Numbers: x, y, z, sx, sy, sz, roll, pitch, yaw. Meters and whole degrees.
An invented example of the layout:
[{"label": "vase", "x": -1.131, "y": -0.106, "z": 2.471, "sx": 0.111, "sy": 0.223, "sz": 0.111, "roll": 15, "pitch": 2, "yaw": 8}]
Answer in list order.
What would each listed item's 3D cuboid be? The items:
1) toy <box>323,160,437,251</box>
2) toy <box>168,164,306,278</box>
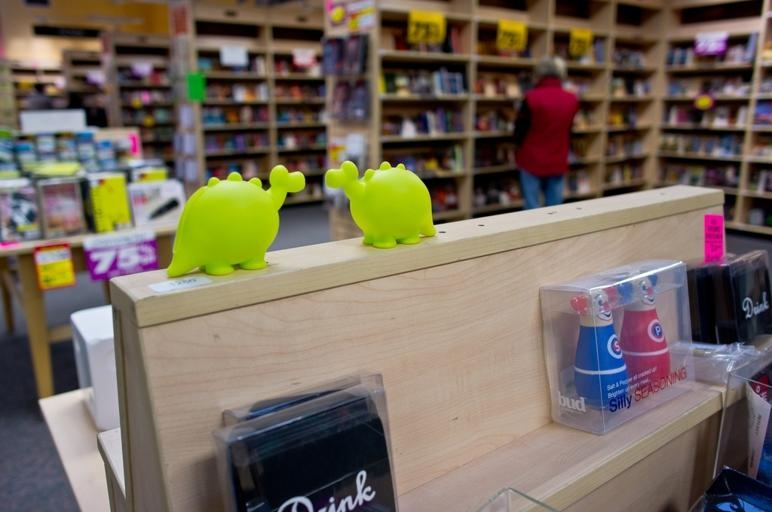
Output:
[{"label": "toy", "x": -0.007, "y": -0.145, "z": 1.503, "sx": 0.336, "sy": 0.231, "sz": 0.202, "roll": -8, "pitch": 13, "yaw": -32}, {"label": "toy", "x": -0.372, "y": -0.093, "z": 1.373, "sx": 0.359, "sy": 0.250, "sz": 0.201, "roll": -9, "pitch": 16, "yaw": -30}]
